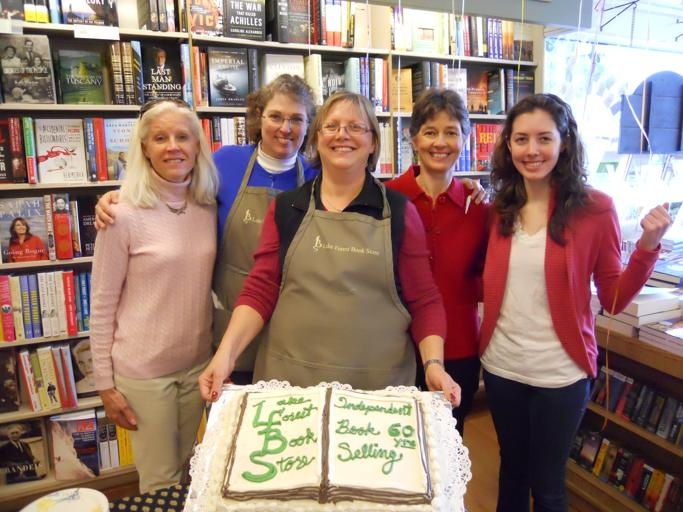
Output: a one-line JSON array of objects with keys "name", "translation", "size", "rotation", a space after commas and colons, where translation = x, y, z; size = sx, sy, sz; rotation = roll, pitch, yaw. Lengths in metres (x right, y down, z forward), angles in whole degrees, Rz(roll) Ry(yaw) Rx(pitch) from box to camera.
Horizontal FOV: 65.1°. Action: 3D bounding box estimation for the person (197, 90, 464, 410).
[{"name": "person", "translation": [-0.037, 0.235, 2.089], "size": [0.864, 1.654, 0.636], "rotation": [2, 17, 3]}]
